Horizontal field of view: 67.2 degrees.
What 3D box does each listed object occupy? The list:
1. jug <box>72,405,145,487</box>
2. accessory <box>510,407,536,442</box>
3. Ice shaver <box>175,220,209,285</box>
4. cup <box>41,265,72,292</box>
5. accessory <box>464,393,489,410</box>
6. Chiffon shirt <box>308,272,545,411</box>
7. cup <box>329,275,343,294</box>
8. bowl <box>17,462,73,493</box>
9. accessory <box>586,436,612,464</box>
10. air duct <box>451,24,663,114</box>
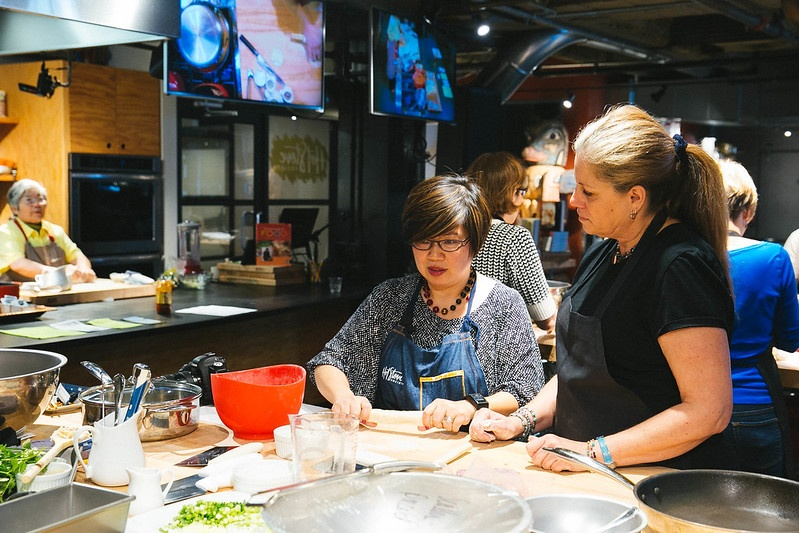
[{"bbox_3d":[-0.815,0.510,1.661,0.131,0.172,0.198,-6,-11,34],"label":"jug"},{"bbox_3d":[0.430,0.562,2.169,0.052,0.102,0.127,-7,-3,-22],"label":"accessory"},{"bbox_3d":[-1.974,-0.119,5.652,0.344,0.605,0.341,-4,7,-33],"label":"Ice shaver"},{"bbox_3d":[-2.678,0.105,4.637,0.233,0.149,0.174,-2,3,5],"label":"cup"},{"bbox_3d":[0.286,0.491,2.172,0.058,0.027,0.056,17,8,-36],"label":"accessory"},{"bbox_3d":[0.185,0.032,2.460,0.995,0.552,0.560,4,-1,17],"label":"Chiffon shirt"},{"bbox_3d":[-0.584,0.182,5.531,0.136,0.146,0.140,1,1,0],"label":"cup"},{"bbox_3d":[-0.891,0.537,1.519,0.098,0.038,0.108,0,-3,-6],"label":"bowl"},{"bbox_3d":[0.612,0.566,1.837,0.031,0.076,0.060,-22,0,-25],"label":"accessory"},{"bbox_3d":[1.694,-1.964,6.037,2.350,1.216,0.361,-2,-34,5],"label":"air duct"}]
